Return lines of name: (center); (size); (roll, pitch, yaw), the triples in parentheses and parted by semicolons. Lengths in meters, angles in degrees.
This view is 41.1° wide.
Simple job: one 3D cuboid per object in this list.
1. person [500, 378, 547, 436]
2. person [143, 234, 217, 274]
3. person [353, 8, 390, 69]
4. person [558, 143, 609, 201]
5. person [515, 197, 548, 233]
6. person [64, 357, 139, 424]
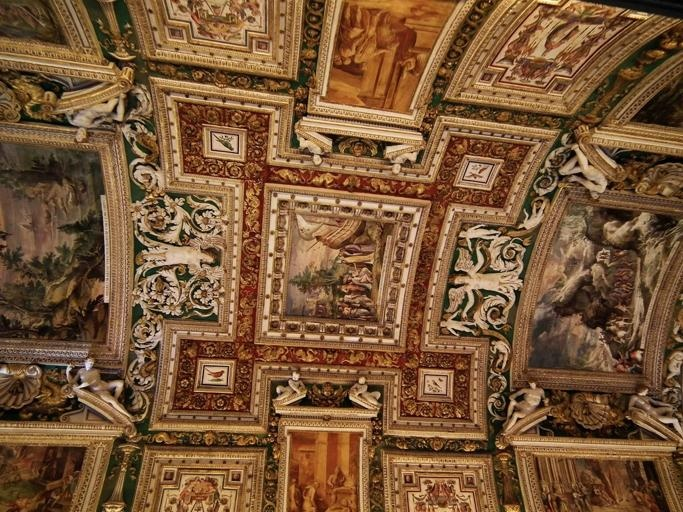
person: (3.616, 2.981, 18.119); (0.888, 0.609, 1.113); (-8, -66, -12)
person: (-3.144, 0.015, 17.609); (1.320, 0.136, 0.577); (-6, -68, 0)
person: (0.529, -3.875, 16.055); (0.692, 0.323, 0.895); (11, -59, -7)
person: (4.766, -1.416, 17.258); (0.740, 0.961, 0.311); (39, -38, -8)
person: (3.777, -0.792, 17.713); (0.399, 0.164, 0.687); (24, -72, 0)
person: (-4.533, 2.495, 17.419); (1.662, 0.874, 0.865); (23, -75, 12)
